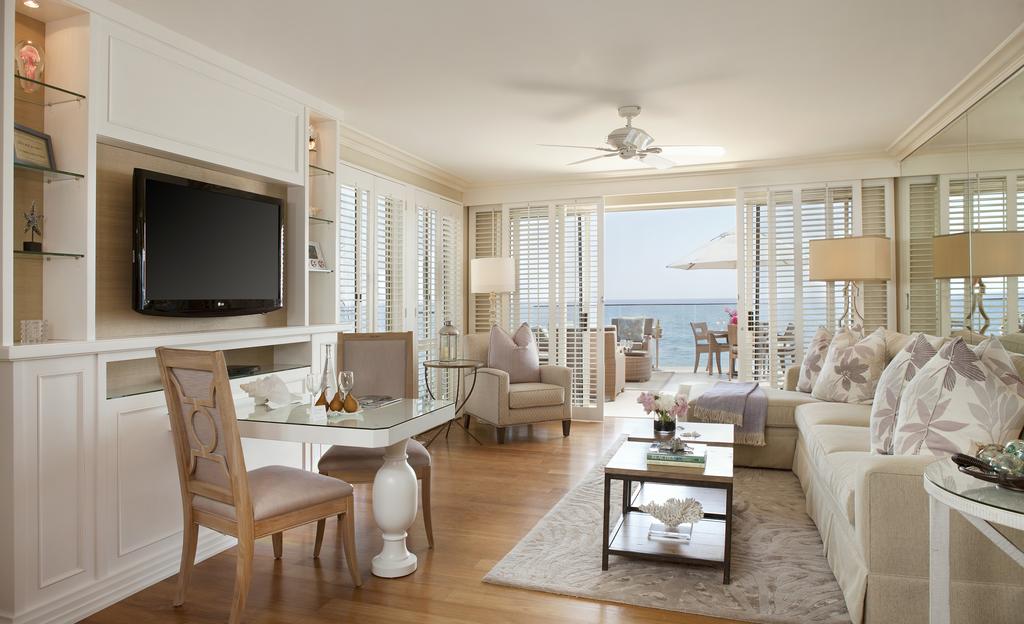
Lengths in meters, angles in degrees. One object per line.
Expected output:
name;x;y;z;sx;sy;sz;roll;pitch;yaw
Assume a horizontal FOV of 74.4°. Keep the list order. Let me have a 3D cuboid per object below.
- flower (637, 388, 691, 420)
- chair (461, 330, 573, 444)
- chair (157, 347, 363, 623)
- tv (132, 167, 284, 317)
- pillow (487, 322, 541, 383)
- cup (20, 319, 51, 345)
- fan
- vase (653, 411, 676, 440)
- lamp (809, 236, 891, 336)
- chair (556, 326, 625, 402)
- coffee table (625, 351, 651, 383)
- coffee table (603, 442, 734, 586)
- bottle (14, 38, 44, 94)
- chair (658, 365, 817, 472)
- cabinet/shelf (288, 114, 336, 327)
flower;1.052;0.654;4.778;0.334;0.215;0.332;0;-4;37
chair;0.068;0.760;7.123;0.980;1.089;0.714;-7;13;-29
chair;-1.520;0.970;3.902;1.064;1.558;0.621;-3;12;-9
tv;-2.251;-0.501;4.837;0.134;0.992;1.256;0;-1;33
pillow;-0.001;0.468;7.271;0.571;0.642;0.378;7;-20;-26
cup;-2.904;0.131;4.046;0.178;0.162;0.175;0;-4;0
fan;1.182;-1.638;6.608;1.784;0.482;2.068;1;10;12
vase;1.030;0.791;4.708;0.185;0.176;0.174;0;0;-9
lamp;3.420;-0.253;6.792;0.642;1.022;0.816;9;15;40
chair;1.048;0.647;8.372;0.980;1.133;0.952;0;1;22
coffee table;1.992;0.890;10.862;0.505;0.338;0.477;-1;2;-9
coffee table;1.092;1.332;4.741;0.767;0.492;0.988;1;4;12
bottle;-2.963;-1.482;4.097;0.142;0.298;0.291;-7;13;-27
chair;2.328;1.081;6.277;1.220;0.550;0.874;0;0;22
cabinet/shelf;-1.687;-0.737;5.596;0.321;1.740;0.675;1;12;8
